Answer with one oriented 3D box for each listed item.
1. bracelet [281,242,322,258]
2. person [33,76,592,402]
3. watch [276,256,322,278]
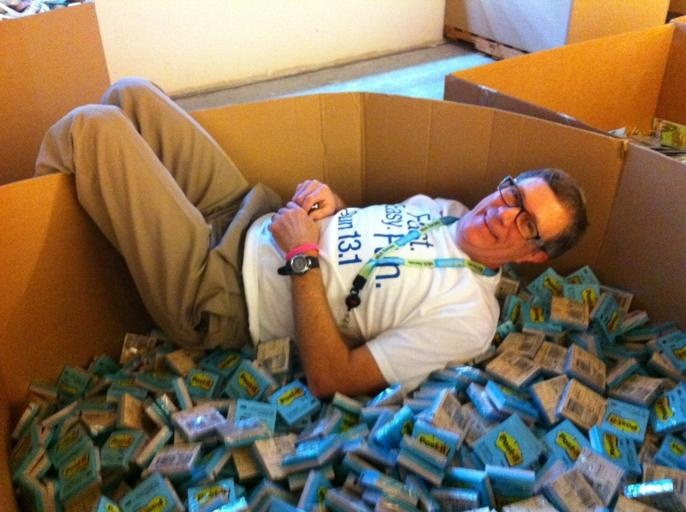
[{"bbox_3d":[-0.120,-0.013,1.592,0.104,0.041,0.079,-6,23,-6],"label":"bracelet"},{"bbox_3d":[-0.108,-0.131,1.689,1.556,0.884,0.692,3,22,15],"label":"person"},{"bbox_3d":[-0.132,0.030,1.548,0.099,0.067,0.098,-16,-5,-3],"label":"watch"}]
